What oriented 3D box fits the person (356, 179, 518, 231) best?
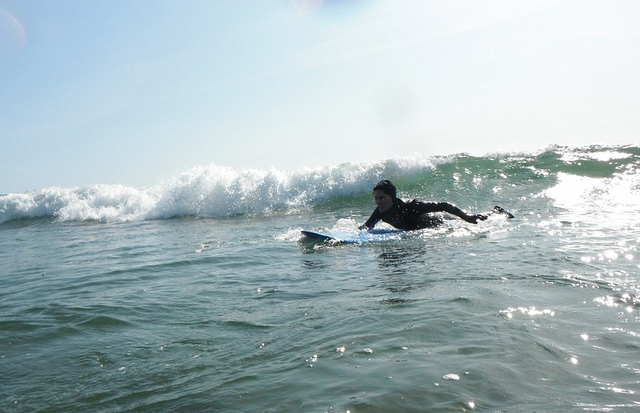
[{"bbox_3d":[2.127,-0.054,10.618,2.427,1.133,0.777,-3,6,6],"label":"person"}]
